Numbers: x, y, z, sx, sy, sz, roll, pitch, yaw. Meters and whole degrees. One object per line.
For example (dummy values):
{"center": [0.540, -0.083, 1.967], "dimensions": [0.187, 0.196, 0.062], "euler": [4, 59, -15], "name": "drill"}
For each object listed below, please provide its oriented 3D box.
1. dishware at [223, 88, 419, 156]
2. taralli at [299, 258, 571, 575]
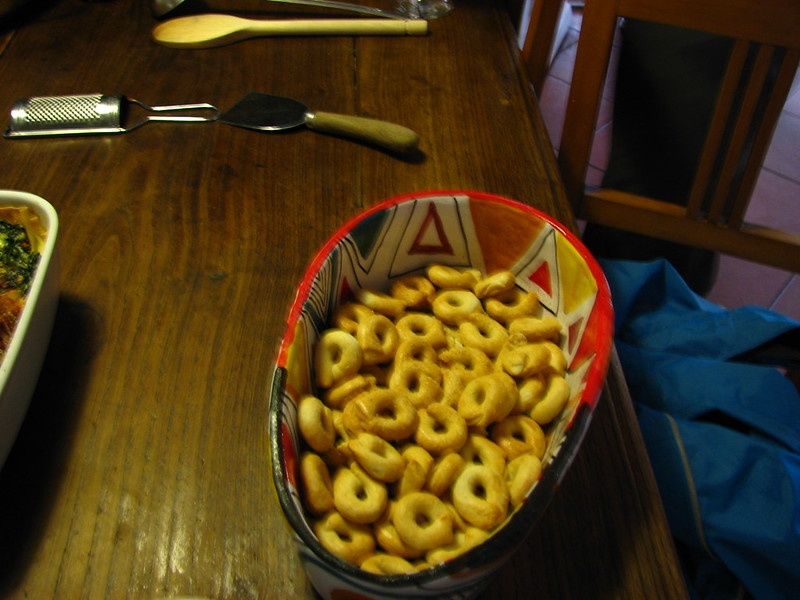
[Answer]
{"center": [-0.132, -0.303, 1.063], "dimensions": [0.343, 0.061, 0.125], "euler": [13, 40, 6], "name": "dishware"}
{"center": [0.044, 0.111, 0.705], "dimensions": [0.292, 0.097, 0.390], "euler": [13, 48, 8], "name": "taralli"}
